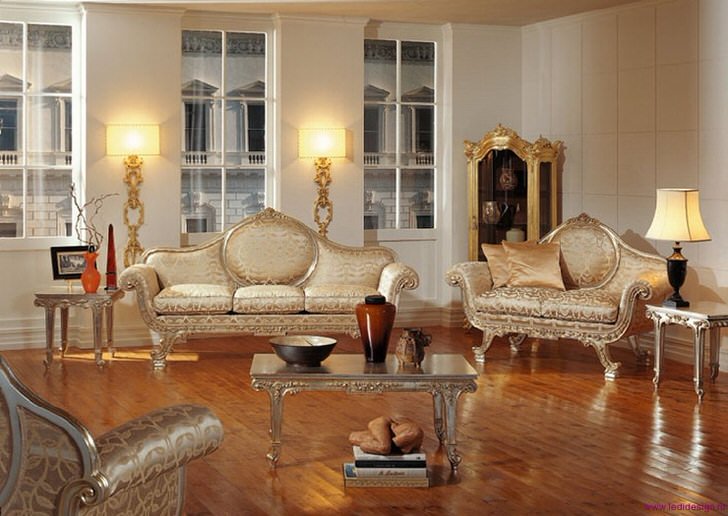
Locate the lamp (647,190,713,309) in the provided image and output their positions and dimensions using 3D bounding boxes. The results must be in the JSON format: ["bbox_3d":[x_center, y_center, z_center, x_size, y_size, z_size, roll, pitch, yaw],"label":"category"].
[{"bbox_3d":[2.686,-0.107,5.312,0.745,0.947,0.427,-5,8,-42],"label":"lamp"}]

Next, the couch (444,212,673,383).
[{"bbox_3d":[1.874,0.311,6.000,0.957,1.327,1.994,-7,8,-42],"label":"couch"}]

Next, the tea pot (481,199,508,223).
[{"bbox_3d":[1.484,-0.529,7.193,0.300,0.249,0.190,2,2,14],"label":"tea pot"}]

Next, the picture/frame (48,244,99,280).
[{"bbox_3d":[-2.719,0.040,5.952,0.355,0.293,0.037,-3,1,-28],"label":"picture/frame"}]

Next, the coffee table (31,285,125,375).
[{"bbox_3d":[-2.557,0.673,5.951,0.835,0.738,0.709,0,0,0],"label":"coffee table"}]
